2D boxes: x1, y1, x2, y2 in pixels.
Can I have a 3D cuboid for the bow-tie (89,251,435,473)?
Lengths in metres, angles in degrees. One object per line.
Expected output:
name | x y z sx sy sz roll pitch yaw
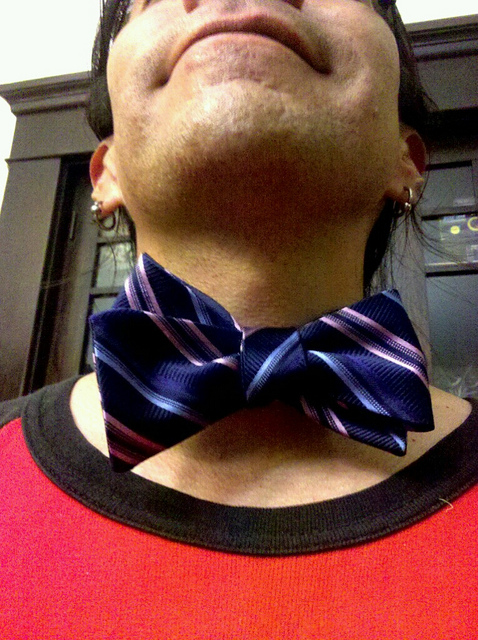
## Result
bow-tie | 0.027 0.031 0.755 0.413 0.108 0.300 -3 69 0
